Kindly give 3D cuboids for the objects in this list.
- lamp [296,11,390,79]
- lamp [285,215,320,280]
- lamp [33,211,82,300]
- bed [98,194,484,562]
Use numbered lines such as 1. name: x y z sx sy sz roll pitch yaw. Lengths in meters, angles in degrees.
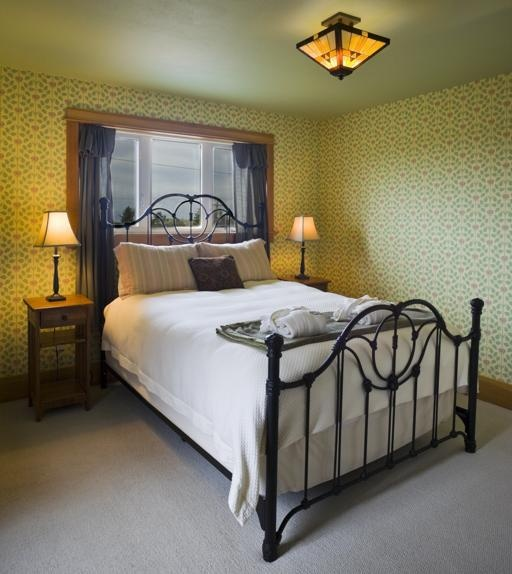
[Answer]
1. lamp: 0.437 -1.187 2.322 0.302 0.180 0.417 -5 9 -40
2. lamp: 0.460 -0.386 4.498 0.285 0.626 0.316 3 9 17
3. lamp: -1.353 -0.218 3.154 0.259 0.599 0.425 -2 7 -23
4. bed: -0.028 0.346 2.692 1.272 1.259 1.850 -4 7 -29
